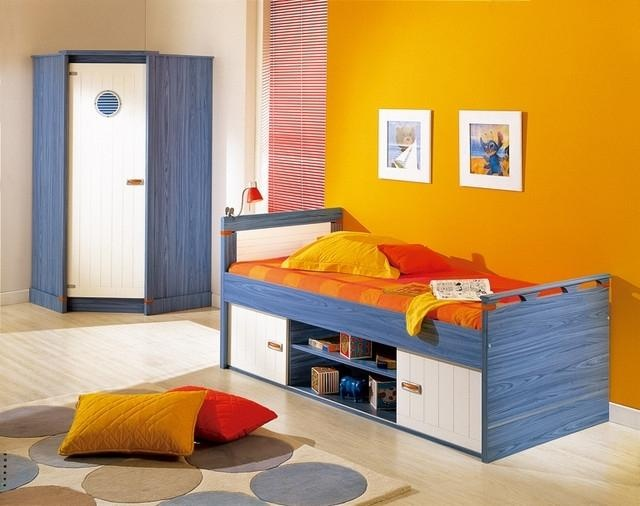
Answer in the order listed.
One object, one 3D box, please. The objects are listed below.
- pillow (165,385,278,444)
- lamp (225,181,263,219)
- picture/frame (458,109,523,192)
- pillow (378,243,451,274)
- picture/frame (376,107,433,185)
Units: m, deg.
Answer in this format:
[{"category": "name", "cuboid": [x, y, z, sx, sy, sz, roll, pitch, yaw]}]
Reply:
[{"category": "pillow", "cuboid": [-0.526, 0.829, 3.009, 0.485, 0.123, 0.458, 15, 24, 36]}, {"category": "lamp", "cuboid": [-0.587, -0.422, 4.598, 0.347, 0.251, 0.141, -3, 1, 25]}, {"category": "picture/frame", "cuboid": [1.087, -0.666, 3.695, 0.546, 0.488, 0.038, -5, 6, -32]}, {"category": "pillow", "cuboid": [0.649, 0.050, 3.823, 0.285, 0.079, 0.290, 3, 16, -40]}, {"category": "picture/frame", "cuboid": [0.629, -0.786, 4.174, 0.049, 0.605, 0.626, -4, 7, -44]}]
